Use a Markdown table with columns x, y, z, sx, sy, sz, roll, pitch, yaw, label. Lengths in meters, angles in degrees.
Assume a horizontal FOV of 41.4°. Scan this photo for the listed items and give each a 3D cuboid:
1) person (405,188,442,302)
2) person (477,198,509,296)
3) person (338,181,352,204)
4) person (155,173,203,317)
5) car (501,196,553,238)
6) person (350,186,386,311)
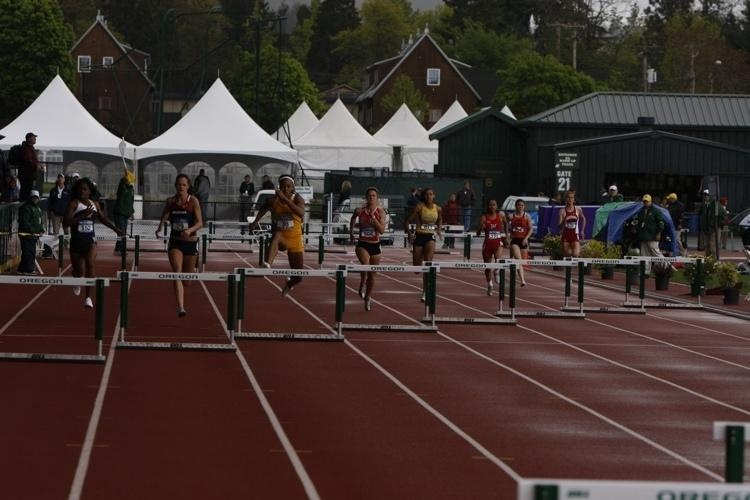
| x | y | z | sx | sy | sz | roll | pitch | yaw | label |
| --- | --- | --- | --- | --- | --- | --- | --- | --- | --- |
| 1.158 | -0.151 | 22.737 | 0.829 | 2.628 | 0.988 | 1 | 0 | -1 | person |
| 2.921 | -0.255 | 24.883 | 0.931 | 2.896 | 1.024 | 1 | -1 | 2 | person |
| -1.248 | -2.338 | 40.261 | 0.457 | 0.963 | 1.040 | 2 | 4 | -7 | person |
| -3.667 | -0.097 | 19.053 | 0.823 | 2.637 | 1.147 | 0 | 1 | -16 | person |
| 5.130 | -1.083 | 33.135 | 1.394 | 1.568 | 3.423 | 0 | -4 | 1 | car |
| -0.192 | -0.034 | 21.277 | 0.643 | 2.534 | 0.981 | 0 | 1 | -28 | person |
